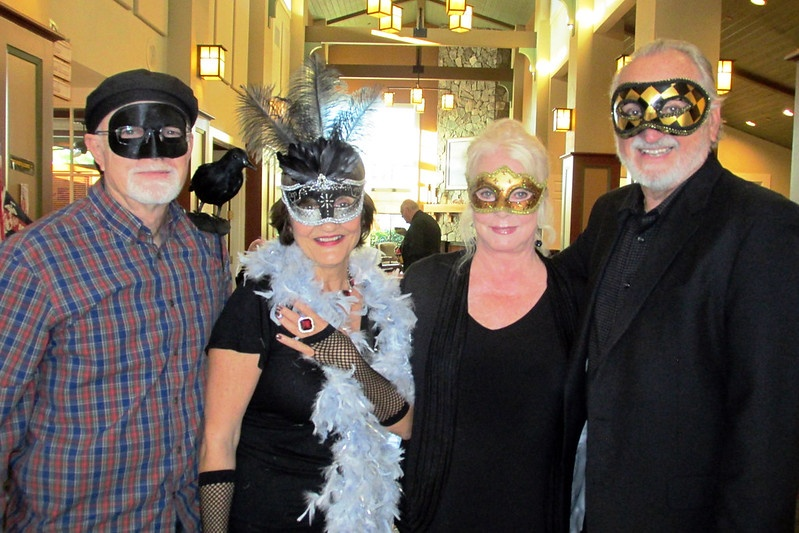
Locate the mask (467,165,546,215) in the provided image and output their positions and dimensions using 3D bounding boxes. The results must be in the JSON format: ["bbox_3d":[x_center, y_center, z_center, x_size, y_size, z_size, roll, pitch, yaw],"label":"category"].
[{"bbox_3d":[0.434,-0.318,2.787,0.336,0.196,0.156,4,13,21],"label":"mask"}]

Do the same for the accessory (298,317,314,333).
[{"bbox_3d":[-0.331,0.203,2.345,0.053,0.050,0.042,-7,6,-23],"label":"accessory"}]

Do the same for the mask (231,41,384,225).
[{"bbox_3d":[-0.352,-0.471,2.358,0.536,0.639,0.273,1,11,-4],"label":"mask"}]

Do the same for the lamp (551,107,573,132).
[{"bbox_3d":[2.360,-2.106,9.704,0.298,0.424,0.343,3,0,13],"label":"lamp"}]

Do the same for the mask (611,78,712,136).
[{"bbox_3d":[0.988,-0.616,2.597,0.383,0.213,0.178,5,17,39],"label":"mask"}]

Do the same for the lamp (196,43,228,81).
[{"bbox_3d":[-2.066,-2.200,7.052,0.256,0.313,0.267,-8,31,-30],"label":"lamp"}]

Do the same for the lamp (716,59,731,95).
[{"bbox_3d":[3.877,-2.275,8.071,0.231,0.380,0.227,0,-3,7],"label":"lamp"}]

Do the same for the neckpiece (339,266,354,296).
[{"bbox_3d":[-0.205,0.052,2.603,0.071,0.094,0.091,-2,-11,-6],"label":"neckpiece"}]
